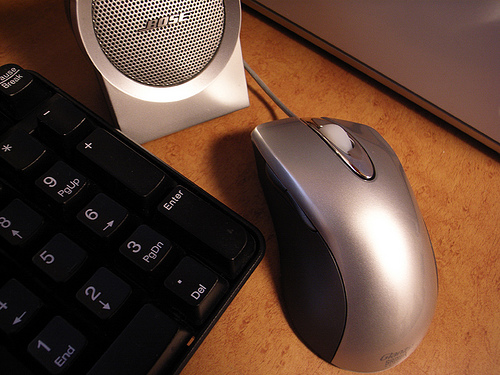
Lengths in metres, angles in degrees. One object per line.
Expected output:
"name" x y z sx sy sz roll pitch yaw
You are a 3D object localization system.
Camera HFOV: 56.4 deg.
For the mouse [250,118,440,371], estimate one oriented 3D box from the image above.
"mouse" 0.081 0.042 0.407 0.121 0.122 0.192 -4 44 -28
